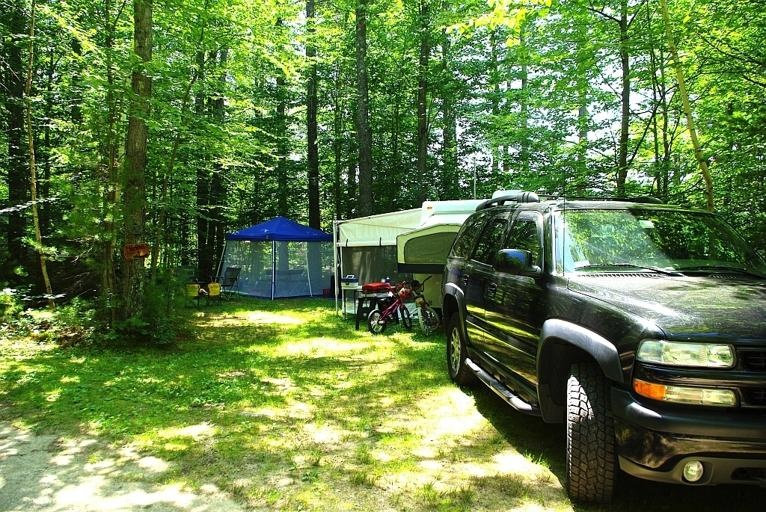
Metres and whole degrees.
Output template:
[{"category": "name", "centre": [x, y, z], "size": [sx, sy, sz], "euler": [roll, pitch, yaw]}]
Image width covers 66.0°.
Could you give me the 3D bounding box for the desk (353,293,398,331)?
[{"category": "desk", "centre": [-0.255, 1.311, 14.549], "size": [1.066, 0.859, 0.993], "euler": [-2, 2, -16]}]

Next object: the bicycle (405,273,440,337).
[{"category": "bicycle", "centre": [0.964, 1.209, 14.058], "size": [0.740, 1.309, 0.869], "euler": [0, 14, 0]}]

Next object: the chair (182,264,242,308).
[{"category": "chair", "centre": [-5.602, 1.010, 19.652], "size": [1.184, 1.146, 2.072], "euler": [0, 0, -32]}]

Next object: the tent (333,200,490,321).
[{"category": "tent", "centre": [0.409, -0.200, 15.094], "size": [3.965, 2.333, 3.519], "euler": [-2, -3, -6]}]

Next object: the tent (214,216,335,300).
[{"category": "tent", "centre": [-4.201, 0.142, 22.090], "size": [3.582, 2.407, 3.632], "euler": [0, 1, 44]}]
